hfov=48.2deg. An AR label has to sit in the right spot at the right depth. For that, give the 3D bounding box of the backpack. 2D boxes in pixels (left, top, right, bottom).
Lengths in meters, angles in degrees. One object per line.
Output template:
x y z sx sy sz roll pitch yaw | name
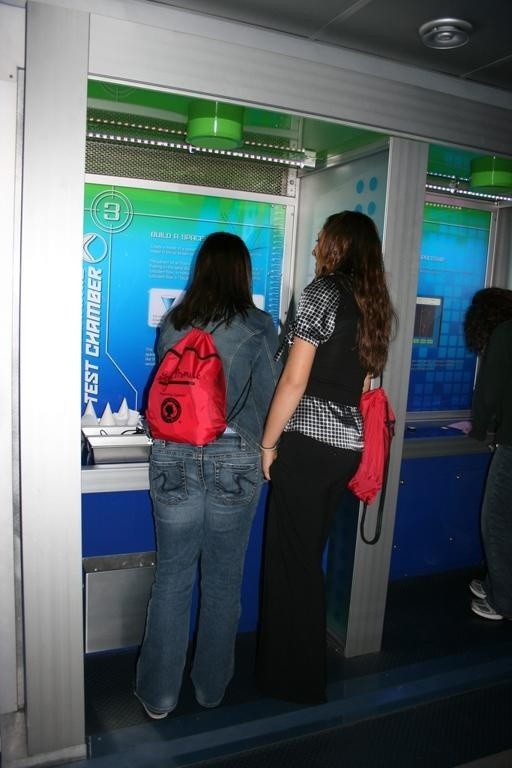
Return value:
-0.193 0.003 1.574 0.219 0.313 0.096 7 6 22 | backpack

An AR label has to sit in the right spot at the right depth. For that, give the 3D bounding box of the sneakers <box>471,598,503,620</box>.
1.037 1.020 2.596 0.108 0.041 0.080 1 6 8 | sneakers
